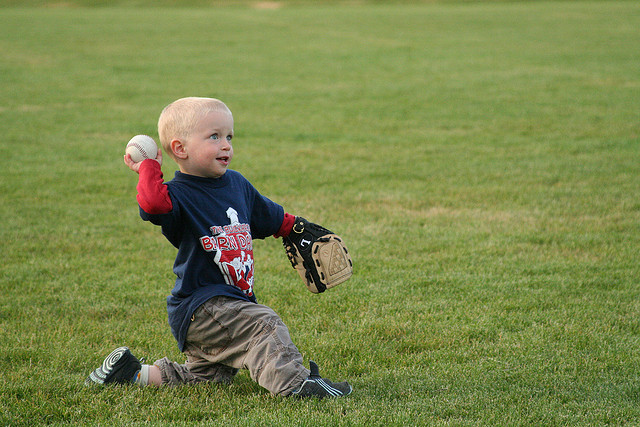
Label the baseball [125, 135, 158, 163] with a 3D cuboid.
[{"bbox_3d":[-1.601,-0.582,9.860,0.259,0.242,0.255,-3,16,32],"label":"baseball"}]
